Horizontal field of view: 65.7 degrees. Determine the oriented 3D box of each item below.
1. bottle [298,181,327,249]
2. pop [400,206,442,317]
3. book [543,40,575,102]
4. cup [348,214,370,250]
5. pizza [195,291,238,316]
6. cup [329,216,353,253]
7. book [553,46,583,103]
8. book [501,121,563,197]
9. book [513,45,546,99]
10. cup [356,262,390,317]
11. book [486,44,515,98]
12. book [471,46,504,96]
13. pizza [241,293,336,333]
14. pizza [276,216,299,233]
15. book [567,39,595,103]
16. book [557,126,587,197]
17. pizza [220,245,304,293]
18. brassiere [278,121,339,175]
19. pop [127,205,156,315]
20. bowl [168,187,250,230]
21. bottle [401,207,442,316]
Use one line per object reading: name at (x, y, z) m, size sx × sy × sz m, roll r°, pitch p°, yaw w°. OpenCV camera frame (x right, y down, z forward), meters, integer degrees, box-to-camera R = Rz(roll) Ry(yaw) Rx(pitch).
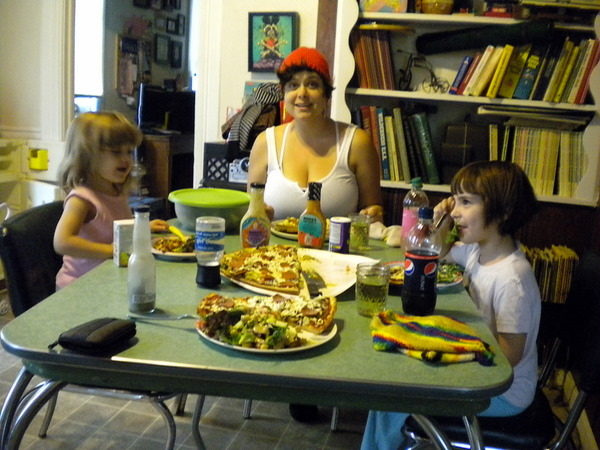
bottle at (0.053, -0.031, 1.686) m, size 0.090 × 0.248 × 0.075 m, roll 15°, pitch 16°, yaw 38°
pop at (0.312, 0.102, 1.263) m, size 0.113 × 0.291 × 0.121 m, roll 4°, pitch 8°, yaw 7°
book at (1.473, -0.860, 2.622) m, size 0.060 × 0.287 × 0.269 m, roll 17°, pitch 13°, yaw 21°
cup at (0.229, 0.019, 1.779) m, size 0.081 × 0.137 × 0.082 m, roll 1°, pitch 14°, yaw 0°
pizza at (-0.203, 0.190, 1.126) m, size 0.057 × 0.021 × 0.059 m, roll 15°, pitch 35°, yaw 24°
cup at (0.143, 0.038, 1.662) m, size 0.072 × 0.132 × 0.074 m, roll 2°, pitch 15°, yaw -1°
book at (1.562, -0.858, 2.678) m, size 0.059 × 0.322 × 0.311 m, roll 8°, pitch 18°, yaw 23°
book at (1.440, -0.400, 2.877) m, size 0.310 × 0.399 × 0.353 m, roll 9°, pitch 12°, yaw 40°
book at (1.316, -0.885, 2.683) m, size 0.052 × 0.248 × 0.242 m, roll 16°, pitch -26°, yaw 11°
cup at (0.197, 0.176, 1.250) m, size 0.079 × 0.129 × 0.076 m, roll 1°, pitch 4°, yaw 0°
book at (1.163, -0.881, 2.676) m, size 0.049 × 0.229 × 0.225 m, roll 19°, pitch 33°, yaw 14°
book at (1.091, -0.894, 2.695) m, size 0.098 × 0.248 × 0.145 m, roll 1°, pitch 13°, yaw -4°
pizza at (-0.033, 0.212, 1.158) m, size 0.251 × 0.052 × 0.192 m, roll 5°, pitch 14°, yaw 0°
pizza at (-0.049, -0.007, 1.885) m, size 0.062 × 0.025 × 0.066 m, roll 5°, pitch 19°, yaw 16°
book at (1.584, -0.856, 2.599) m, size 0.074 × 0.271 × 0.132 m, roll 5°, pitch 13°, yaw 19°
book at (1.596, -0.362, 2.708) m, size 0.160 × 0.383 × 0.088 m, roll 10°, pitch 16°, yaw 33°
pizza at (-0.104, 0.108, 1.405) m, size 0.209 × 0.112 × 0.225 m, roll 2°, pitch 11°, yaw 12°
brassiere at (0.043, -0.395, 2.357) m, size 0.304 × 0.248 × 0.162 m, roll 1°, pitch 14°, yaw -2°
pop at (-0.406, 0.086, 1.181) m, size 0.072 × 0.264 × 0.074 m, roll -2°, pitch 7°, yaw -28°
bowl at (-0.347, -0.066, 1.918) m, size 0.323 × 0.145 × 0.349 m, roll 0°, pitch 10°, yaw 0°
bottle at (0.321, 0.104, 1.251) m, size 0.124 × 0.284 × 0.132 m, roll 4°, pitch 0°, yaw 0°
